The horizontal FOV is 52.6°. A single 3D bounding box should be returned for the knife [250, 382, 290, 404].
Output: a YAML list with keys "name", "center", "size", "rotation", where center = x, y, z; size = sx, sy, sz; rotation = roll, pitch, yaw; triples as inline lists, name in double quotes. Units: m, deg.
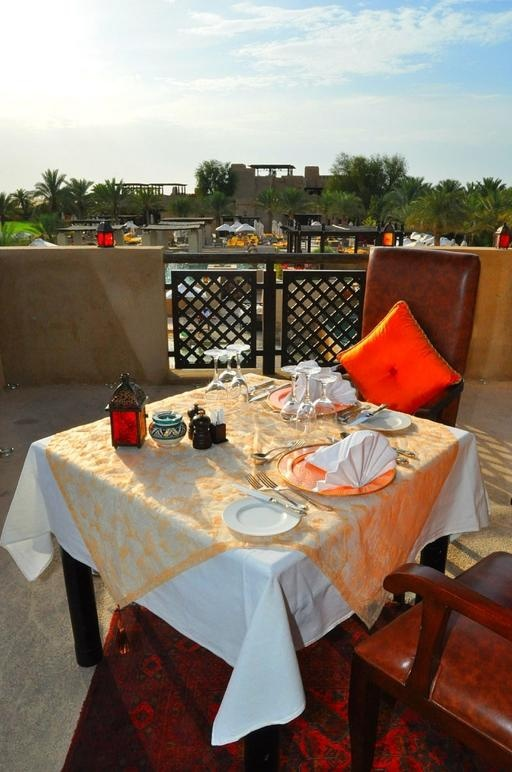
- name: "knife"
  center: [0.038, 0.021, 1.790]
  size: [0.047, 0.018, 0.292]
  rotation: [12, 9, 17]

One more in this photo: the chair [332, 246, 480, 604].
- name: "chair"
  center: [0.624, 0.079, 2.394]
  size: [0.738, 1.322, 0.838]
  rotation: [16, 20, 26]

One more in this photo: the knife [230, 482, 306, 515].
- name: "knife"
  center: [0.024, 0.233, 1.057]
  size: [0.021, 0.022, 0.151]
  rotation: [-12, 14, -41]

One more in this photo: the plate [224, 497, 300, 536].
- name: "plate"
  center: [0.006, 0.249, 0.982]
  size: [0.139, 0.017, 0.139]
  rotation: [13, 22, 35]

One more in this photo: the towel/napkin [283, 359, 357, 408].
- name: "towel/napkin"
  center: [0.164, -0.018, 1.604]
  size: [0.198, 0.150, 0.204]
  rotation: [-13, 22, -42]

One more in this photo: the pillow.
- name: "pillow"
  center: [0.665, -0.096, 2.433]
  size: [0.152, 0.519, 0.552]
  rotation: [9, 43, -49]

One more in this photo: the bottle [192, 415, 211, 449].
- name: "bottle"
  center: [-0.139, 0.121, 1.318]
  size: [0.045, 0.085, 0.033]
  rotation: [-3, 18, -7]

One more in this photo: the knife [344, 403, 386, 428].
- name: "knife"
  center: [0.334, 0.077, 1.599]
  size: [0.047, 0.018, 0.345]
  rotation: [4, 13, 18]

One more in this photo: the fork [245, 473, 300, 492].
- name: "fork"
  center: [0.023, 0.204, 1.129]
  size: [0.038, 0.021, 0.141]
  rotation: [-13, 12, -31]

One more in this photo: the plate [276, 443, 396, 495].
- name: "plate"
  center: [0.177, 0.202, 1.159]
  size: [0.256, 0.094, 0.224]
  rotation: [4, 12, 6]

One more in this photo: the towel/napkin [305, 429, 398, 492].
- name: "towel/napkin"
  center: [0.175, 0.124, 1.169]
  size: [0.170, 0.123, 0.222]
  rotation: [16, 15, 27]
